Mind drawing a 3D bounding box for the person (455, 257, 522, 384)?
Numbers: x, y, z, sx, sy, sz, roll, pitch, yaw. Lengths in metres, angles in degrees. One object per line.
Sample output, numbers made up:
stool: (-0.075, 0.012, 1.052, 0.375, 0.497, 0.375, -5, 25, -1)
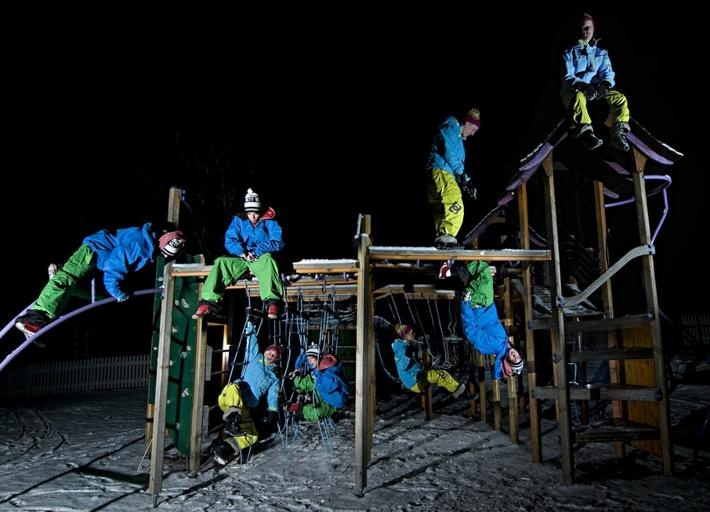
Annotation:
person: (2.705, 1.335, 12.423, 1.236, 2.489, 0.929, -20, -11, 11)

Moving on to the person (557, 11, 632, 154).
person: (4.659, -3.391, 11.599, 1.132, 2.671, 0.685, -2, 4, -6)

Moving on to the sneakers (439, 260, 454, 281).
sneakers: (1.777, 0.272, 11.654, 0.207, 0.394, 0.158, 1, 28, -23)

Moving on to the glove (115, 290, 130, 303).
glove: (-4.498, 0.799, 11.551, 0.202, 0.057, 0.214, 0, -44, -9)

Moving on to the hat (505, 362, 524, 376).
hat: (3.190, 2.265, 12.070, 0.316, 0.341, 0.272, -4, -7, -10)

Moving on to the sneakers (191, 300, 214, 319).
sneakers: (-2.964, 1.036, 11.638, 0.398, 0.155, 0.187, -35, 16, 20)

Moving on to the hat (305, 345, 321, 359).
hat: (-0.891, 2.081, 13.096, 0.283, 0.272, 0.237, 18, 15, 13)

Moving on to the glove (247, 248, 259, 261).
glove: (-1.981, -0.016, 11.450, 0.168, 0.182, 0.042, -15, -7, -24)

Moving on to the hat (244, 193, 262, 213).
hat: (-2.017, -1.073, 11.795, 0.261, 0.376, 0.382, -2, 4, -8)

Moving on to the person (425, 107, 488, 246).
person: (1.984, -1.586, 11.908, 1.030, 2.719, 1.242, -2, 4, -8)

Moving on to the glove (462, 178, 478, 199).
glove: (2.316, -1.293, 11.813, 0.297, 0.492, 0.156, -12, -39, 35)
